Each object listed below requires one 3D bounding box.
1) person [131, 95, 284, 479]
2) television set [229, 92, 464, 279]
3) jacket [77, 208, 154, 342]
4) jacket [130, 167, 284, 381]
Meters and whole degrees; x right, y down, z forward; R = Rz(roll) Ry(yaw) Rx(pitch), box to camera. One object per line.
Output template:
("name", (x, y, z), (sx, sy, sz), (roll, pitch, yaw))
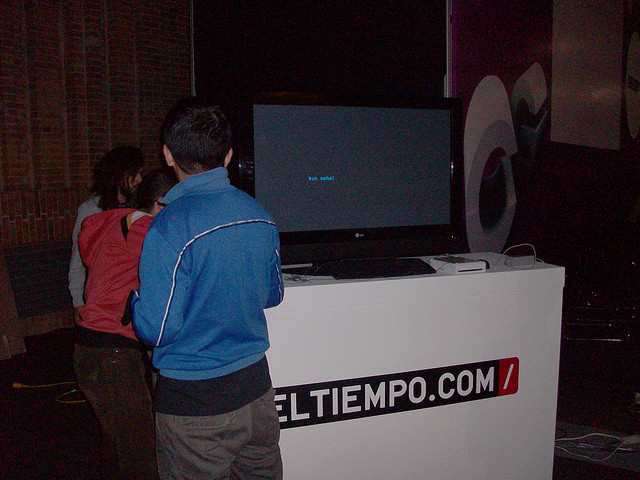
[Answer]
("person", (-0.487, 0.276, 2.316), (0.624, 1.675, 0.402), (-3, 13, -7))
("television set", (0.203, -0.320, 3.146), (1.345, 1.106, 0.618), (-2, -6, -12))
("jacket", (-1.115, 0.073, 2.802), (0.307, 0.525, 0.500), (22, 18, -7))
("jacket", (-0.483, 0.156, 2.442), (0.458, 0.951, 0.775), (18, 20, 38))
